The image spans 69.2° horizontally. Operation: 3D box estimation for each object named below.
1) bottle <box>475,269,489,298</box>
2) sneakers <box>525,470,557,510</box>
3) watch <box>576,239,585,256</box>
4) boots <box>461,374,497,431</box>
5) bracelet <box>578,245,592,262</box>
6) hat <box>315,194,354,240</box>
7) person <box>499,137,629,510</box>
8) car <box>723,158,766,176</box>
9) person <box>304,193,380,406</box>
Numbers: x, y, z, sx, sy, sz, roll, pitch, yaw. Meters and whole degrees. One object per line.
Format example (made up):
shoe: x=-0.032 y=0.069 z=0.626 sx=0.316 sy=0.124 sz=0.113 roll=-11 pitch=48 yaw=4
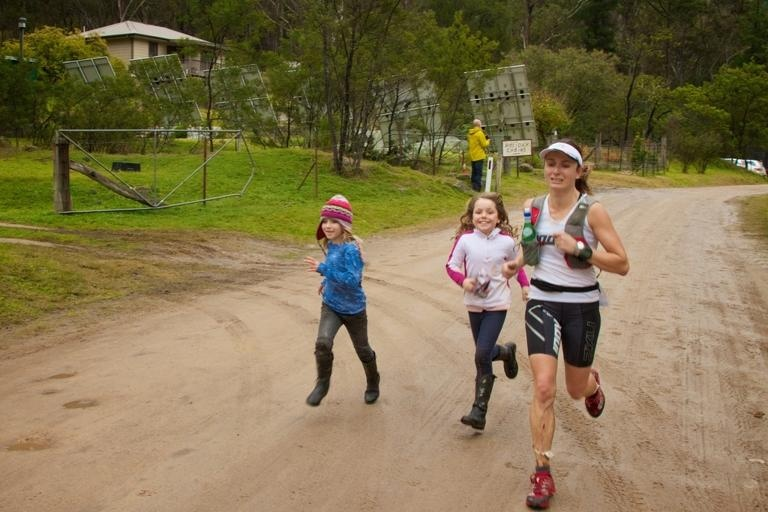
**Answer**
bottle: x=0.917 y=0.253 z=5.194 sx=0.125 sy=0.242 sz=0.062 roll=3 pitch=14 yaw=9
sneakers: x=1.175 y=1.780 z=4.227 sx=0.142 sy=0.162 sz=0.388 roll=-2 pitch=-4 yaw=16
watch: x=1.528 y=-0.075 z=4.359 sx=0.064 sy=0.087 sz=0.032 roll=0 pitch=3 yaw=1
boots: x=0.875 y=1.361 z=5.289 sx=0.264 sy=0.569 sz=0.427 roll=7 pitch=15 yaw=21
bracelet: x=1.571 y=-0.029 z=4.368 sx=0.104 sy=0.129 sz=0.052 roll=-5 pitch=15 yaw=-21
hat: x=-0.535 y=-0.444 z=5.771 sx=0.454 sy=0.511 sz=0.520 roll=-1 pitch=-14 yaw=6
person: x=1.449 y=0.459 z=4.492 sx=0.846 sy=2.707 sz=1.204 roll=7 pitch=15 yaw=21
car: x=31.378 y=-7.864 z=48.784 sx=3.637 sy=1.163 sz=2.514 roll=19 pitch=15 yaw=30
person: x=-0.418 y=0.452 z=5.684 sx=0.748 sy=2.108 sz=0.679 roll=1 pitch=14 yaw=-2
